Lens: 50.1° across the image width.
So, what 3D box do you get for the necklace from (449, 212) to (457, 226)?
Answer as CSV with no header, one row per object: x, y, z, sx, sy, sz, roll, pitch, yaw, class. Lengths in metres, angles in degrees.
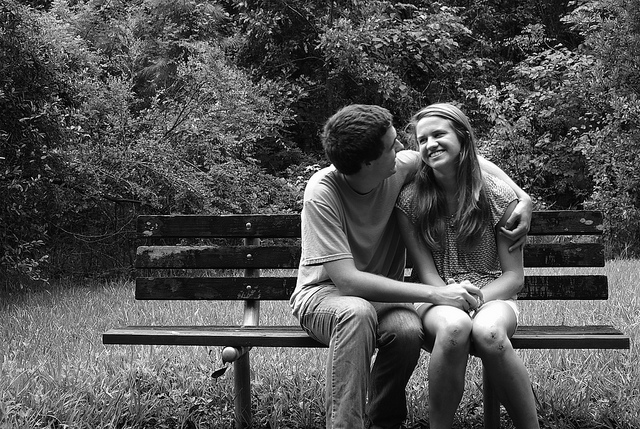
0.946,0.035,4.892,0.067,0.092,0.030,1,9,15,necklace
